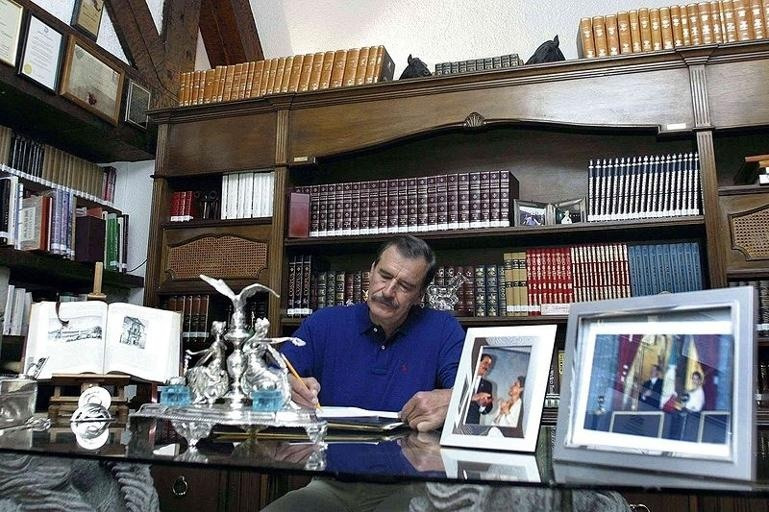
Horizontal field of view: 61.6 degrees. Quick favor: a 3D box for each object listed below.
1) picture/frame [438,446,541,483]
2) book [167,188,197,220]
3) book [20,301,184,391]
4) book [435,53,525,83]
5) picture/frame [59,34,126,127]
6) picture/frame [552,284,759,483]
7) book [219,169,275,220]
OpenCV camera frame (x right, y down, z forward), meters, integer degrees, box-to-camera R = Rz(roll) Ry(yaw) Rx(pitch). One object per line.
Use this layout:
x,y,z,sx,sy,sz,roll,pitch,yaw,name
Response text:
0.253,0.504,1.547,0.229,0.028,0.192,1,-7,7,picture/frame
-1.191,-0.289,3.816,0.166,0.211,0.183,-1,-6,14,book
-0.987,0.297,2.256,0.582,0.306,0.130,4,-17,-19,book
0.511,-1.022,3.499,0.474,0.158,0.182,0,-7,13,book
-1.710,-1.008,3.737,0.035,0.420,0.502,-6,-22,26,picture/frame
0.655,0.319,1.538,0.469,0.420,0.061,1,-21,28,picture/frame
-0.775,-0.349,3.687,0.309,0.216,0.023,0,-9,15,book
